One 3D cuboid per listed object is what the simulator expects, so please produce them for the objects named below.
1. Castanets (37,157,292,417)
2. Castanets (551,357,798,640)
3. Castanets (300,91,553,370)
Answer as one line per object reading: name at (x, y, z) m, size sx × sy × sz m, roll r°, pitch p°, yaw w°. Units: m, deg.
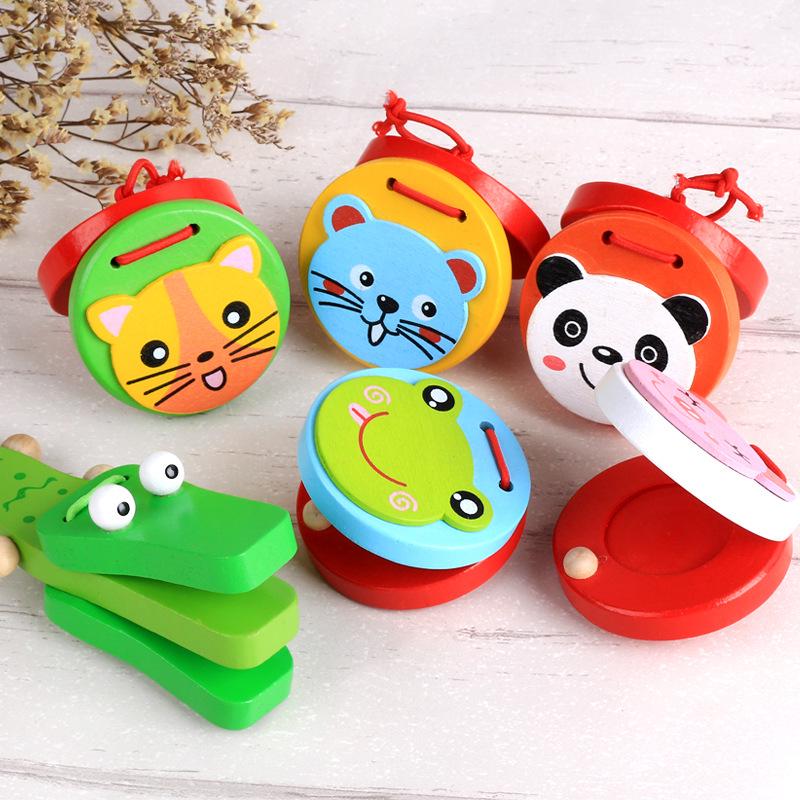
Castanets at (-0.281, -0.132, 1.227) m, size 0.278 × 0.318 × 0.196 m, roll -23°, pitch 52°, yaw -25°
Castanets at (0.295, 0.118, 1.091) m, size 0.303 × 0.210 × 0.215 m, roll -21°, pitch 43°, yaw -12°
Castanets at (0.030, -0.207, 1.314) m, size 0.292 × 0.347 × 0.219 m, roll 20°, pitch 48°, yaw 15°
